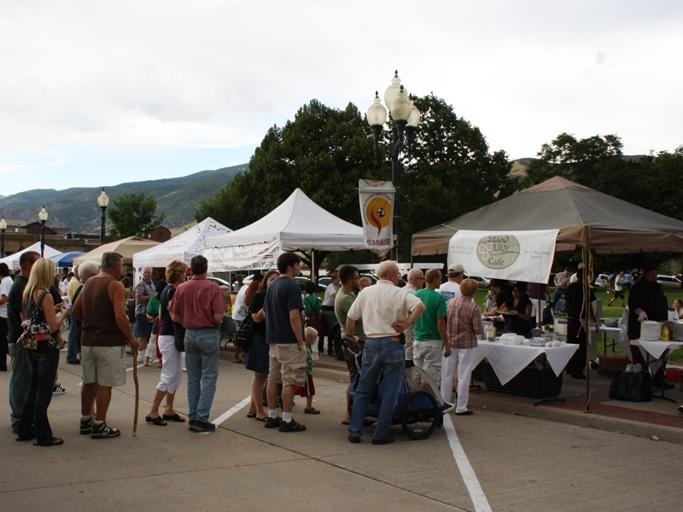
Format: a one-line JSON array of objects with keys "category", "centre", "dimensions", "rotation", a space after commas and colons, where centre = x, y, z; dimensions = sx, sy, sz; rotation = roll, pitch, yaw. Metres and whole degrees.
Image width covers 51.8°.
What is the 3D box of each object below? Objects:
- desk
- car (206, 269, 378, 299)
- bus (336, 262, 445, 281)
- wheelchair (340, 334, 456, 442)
[{"category": "desk", "centre": [3.274, 1.802, 12.098], "dimensions": [2.501, 1.825, 1.843], "rotation": [1, -4, -11]}, {"category": "car", "centre": [-1.115, 0.657, 16.881], "dimensions": [2.598, 1.065, 1.301], "rotation": [-3, -3, -3]}, {"category": "bus", "centre": [2.655, 0.323, 32.261], "dimensions": [4.540, 1.471, 3.244], "rotation": [3, 0, -39]}, {"category": "wheelchair", "centre": [0.895, 1.941, 10.536], "dimensions": [1.497, 1.582, 0.985], "rotation": [-2, -1, -37]}]
